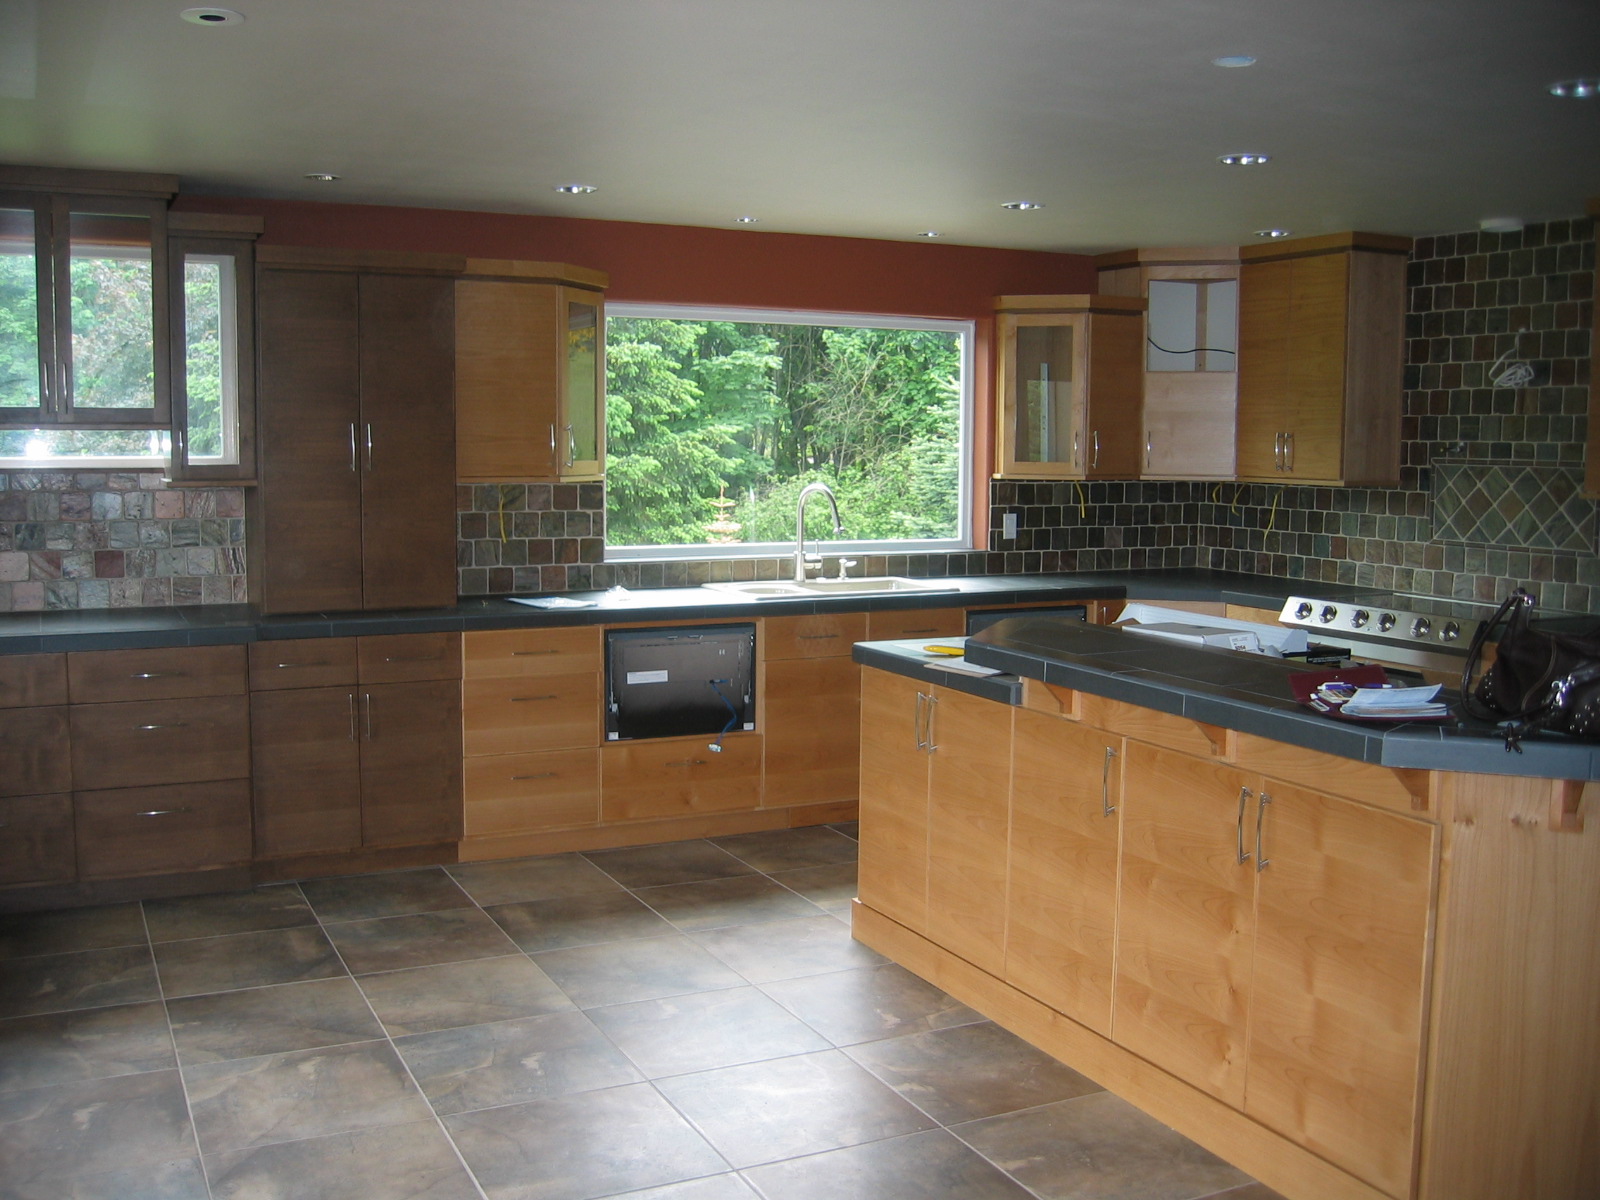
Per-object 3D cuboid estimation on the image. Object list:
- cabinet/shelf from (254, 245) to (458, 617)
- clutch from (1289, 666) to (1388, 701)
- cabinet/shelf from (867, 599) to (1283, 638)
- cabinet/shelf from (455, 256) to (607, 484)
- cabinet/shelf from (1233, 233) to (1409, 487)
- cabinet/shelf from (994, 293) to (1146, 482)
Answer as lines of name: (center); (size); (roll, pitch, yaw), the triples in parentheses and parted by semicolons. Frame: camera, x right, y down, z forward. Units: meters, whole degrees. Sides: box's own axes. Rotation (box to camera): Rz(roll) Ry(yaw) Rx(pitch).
cabinet/shelf: (-1.910, -0.704, 5.721); (0.989, 1.583, 0.603); (1, 3, 8)
clutch: (1.406, 0.200, 3.252); (0.156, 0.039, 0.143); (-1, 2, -27)
cabinet/shelf: (1.317, 0.070, 6.426); (2.090, 0.169, 0.397); (-3, 8, -11)
cabinet/shelf: (-1.295, -1.086, 6.006); (0.896, 0.988, 0.695); (0, 14, -16)
cabinet/shelf: (2.715, -1.260, 6.516); (0.831, 1.270, 0.458); (1, 9, 22)
cabinet/shelf: (1.503, -1.179, 6.898); (0.810, 1.010, 0.246); (-1, 9, 9)
